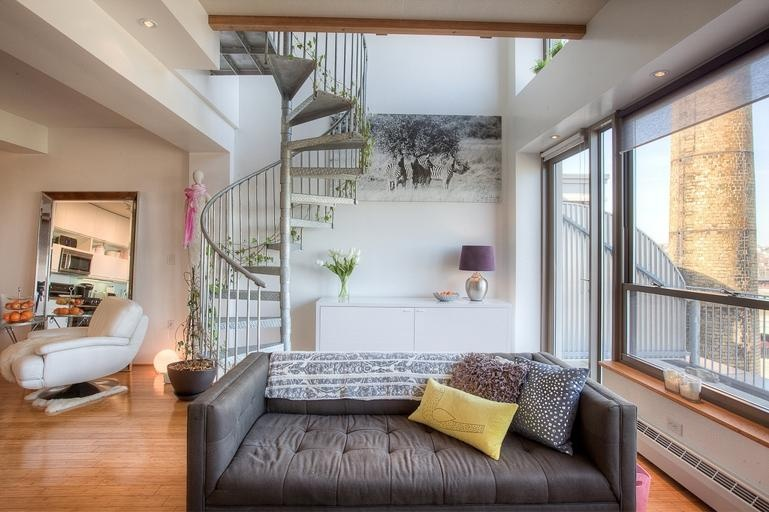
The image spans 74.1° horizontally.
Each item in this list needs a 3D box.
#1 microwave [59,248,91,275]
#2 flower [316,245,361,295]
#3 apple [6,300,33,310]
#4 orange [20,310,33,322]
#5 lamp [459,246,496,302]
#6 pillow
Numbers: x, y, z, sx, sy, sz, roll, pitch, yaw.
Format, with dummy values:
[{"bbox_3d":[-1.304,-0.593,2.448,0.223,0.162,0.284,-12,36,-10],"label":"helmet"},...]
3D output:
[{"bbox_3d":[-3.919,0.084,6.551,0.444,0.398,0.305,5,-12,-24],"label":"microwave"},{"bbox_3d":[-0.575,0.213,6.412,0.541,0.602,0.333,0,-2,-3],"label":"flower"},{"bbox_3d":[-4.421,0.590,6.149,0.158,0.061,0.157,1,-2,15],"label":"apple"},{"bbox_3d":[-4.189,0.699,5.946,0.110,0.057,0.104,8,0,-1],"label":"orange"},{"bbox_3d":[1.157,0.204,6.360,0.410,0.702,0.517,-1,-2,14],"label":"lamp"},{"bbox_3d":[0.916,1.134,3.908,0.842,0.252,0.841,-3,24,31],"label":"pillow"}]
